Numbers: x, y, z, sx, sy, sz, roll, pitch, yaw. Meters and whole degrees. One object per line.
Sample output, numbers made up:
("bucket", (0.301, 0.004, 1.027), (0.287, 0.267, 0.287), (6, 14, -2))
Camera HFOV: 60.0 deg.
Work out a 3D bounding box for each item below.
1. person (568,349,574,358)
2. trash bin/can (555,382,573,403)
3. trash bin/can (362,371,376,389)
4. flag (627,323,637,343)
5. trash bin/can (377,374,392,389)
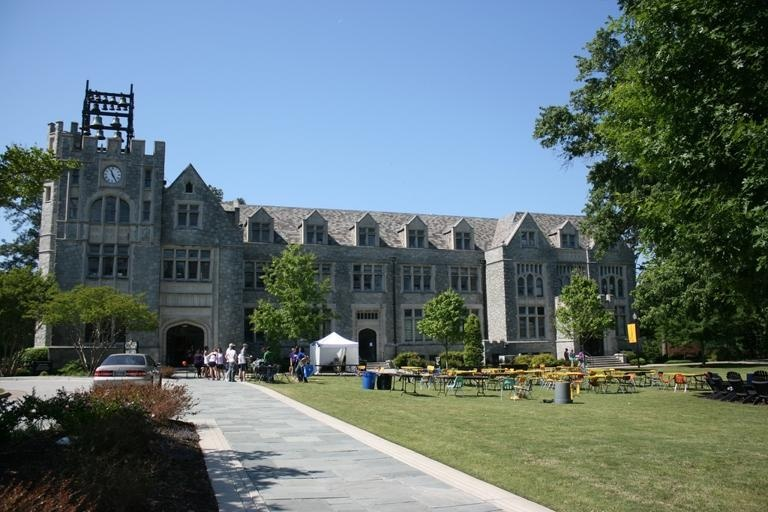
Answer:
("person", (15.091, 7.798, 53.358), (0.405, 0.653, 1.012), (2, -3, 14))
("trash bin/can", (8.047, 6.208, 30.166), (0.966, 0.928, 0.909), (3, -15, -10))
("trash bin/can", (-0.805, 6.711, 35.736), (0.877, 0.734, 0.821), (3, -14, -11))
("flag", (20.704, 6.356, 55.259), (0.710, 1.553, 1.933), (2, -3, 15))
("trash bin/can", (0.044, 6.767, 35.912), (0.821, 0.970, 0.792), (-1, -1, 24))
